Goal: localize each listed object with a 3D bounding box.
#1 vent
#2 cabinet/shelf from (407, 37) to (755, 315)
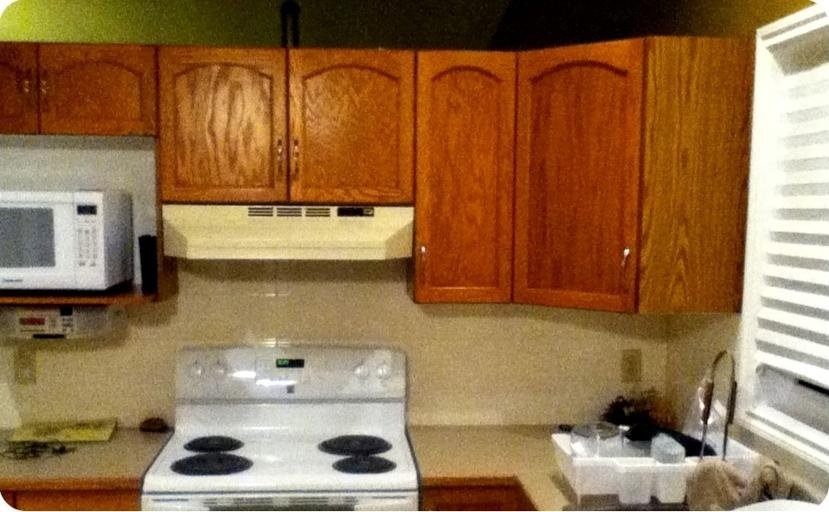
[{"bbox_3d":[-0.610,-0.121,3.608,1.214,0.299,0.163,-2,3,2],"label":"vent"},{"bbox_3d":[0.850,-0.422,3.627,0.980,1.619,1.217,-1,2,-44],"label":"cabinet/shelf"}]
